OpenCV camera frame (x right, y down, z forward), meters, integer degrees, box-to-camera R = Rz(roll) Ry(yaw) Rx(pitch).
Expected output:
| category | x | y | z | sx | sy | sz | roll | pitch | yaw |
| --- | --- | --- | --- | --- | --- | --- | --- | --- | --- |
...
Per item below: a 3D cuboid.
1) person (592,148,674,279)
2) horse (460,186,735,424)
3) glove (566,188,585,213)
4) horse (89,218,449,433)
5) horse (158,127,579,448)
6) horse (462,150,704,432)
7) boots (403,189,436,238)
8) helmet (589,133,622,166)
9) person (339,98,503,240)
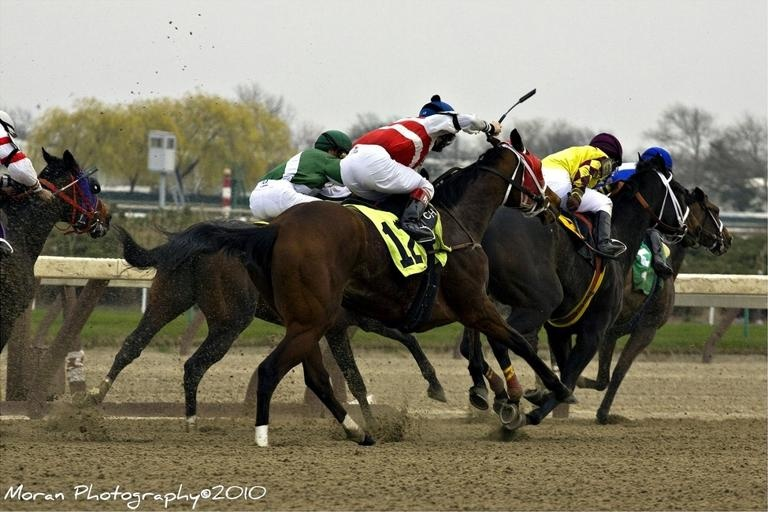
| category | x | y | z | sx | sy | sz | roll | pitch | yaw |
| --- | --- | --- | --- | --- | --- | --- | --- | --- | --- |
| person | 2.165 | -0.373 | 11.400 | 0.790 | 1.070 | 0.256 | 5 | 7 | -42 |
| horse | 1.756 | 0.384 | 11.440 | 3.299 | 2.060 | 0.744 | 4 | -6 | -31 |
| glove | 1.633 | -0.471 | 11.083 | 0.120 | 0.198 | 0.074 | 19 | 8 | 0 |
| horse | -0.690 | 0.386 | 12.296 | 1.038 | 2.708 | 4.734 | -1 | -5 | 21 |
| horse | -0.213 | 0.258 | 10.235 | 3.945 | 2.174 | 0.743 | -1 | -4 | -30 |
| horse | 1.562 | 0.239 | 11.387 | 3.196 | 2.175 | 0.973 | 1 | 9 | -33 |
| boots | 0.283 | -0.370 | 10.211 | 0.229 | 0.403 | 0.119 | -2 | -35 | -43 |
| helmet | 1.986 | -0.991 | 11.522 | 0.255 | 0.191 | 0.223 | -2 | 30 | 32 |
| person | 0.390 | -0.692 | 10.501 | 1.347 | 1.255 | 0.691 | 3 | -8 | -4 |
